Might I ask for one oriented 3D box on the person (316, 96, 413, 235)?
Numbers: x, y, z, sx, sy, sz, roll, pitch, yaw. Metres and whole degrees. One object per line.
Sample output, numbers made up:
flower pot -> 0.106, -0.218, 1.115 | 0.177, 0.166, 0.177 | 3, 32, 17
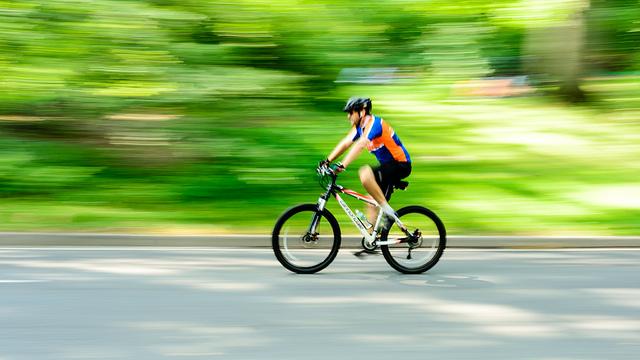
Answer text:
person -> 0.908, -0.271, 12.751 | 1.418, 2.660, 0.886 | 8, 20, 19

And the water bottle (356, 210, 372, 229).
water bottle -> 0.842, 0.764, 12.806 | 0.314, 0.374, 0.177 | 1, 18, 1
